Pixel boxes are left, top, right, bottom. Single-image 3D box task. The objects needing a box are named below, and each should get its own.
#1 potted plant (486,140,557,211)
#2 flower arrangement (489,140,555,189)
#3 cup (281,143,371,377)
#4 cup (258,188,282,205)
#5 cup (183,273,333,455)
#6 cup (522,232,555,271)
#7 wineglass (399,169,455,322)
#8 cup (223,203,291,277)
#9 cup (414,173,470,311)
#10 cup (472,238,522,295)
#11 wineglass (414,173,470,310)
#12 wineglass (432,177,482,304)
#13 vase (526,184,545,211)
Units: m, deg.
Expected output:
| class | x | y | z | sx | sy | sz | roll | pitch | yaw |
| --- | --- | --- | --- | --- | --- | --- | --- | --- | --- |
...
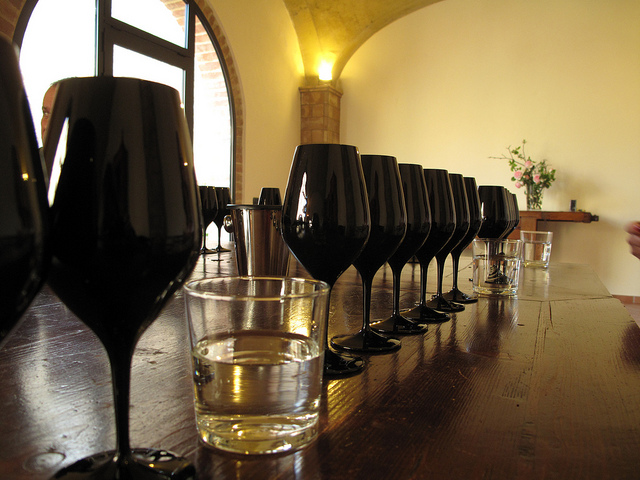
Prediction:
| class | x | y | z | sx | sy | sz | roll | pitch | yaw |
| --- | --- | --- | --- | --- | --- | --- | --- | --- | --- |
| potted plant | 2.229 | -0.681 | 4.964 | 0.393 | 0.612 | 0.455 | 4 | 17 | 18 |
| flower arrangement | 2.200 | -0.813 | 4.896 | 0.531 | 0.511 | 0.312 | 4 | 5 | 27 |
| cup | 0.010 | 0.018 | 0.574 | 0.103 | 0.262 | 0.108 | 0 | 5 | 0 |
| cup | -0.174 | -0.153 | 1.639 | 0.090 | 0.090 | 0.091 | 3 | -2 | 0 |
| cup | -0.046 | 0.100 | 0.437 | 0.122 | 0.143 | 0.124 | 0 | -2 | 0 |
| cup | 0.801 | 0.040 | 1.707 | 0.121 | 0.149 | 0.133 | 3 | 2 | 0 |
| wineglass | 0.188 | 0.006 | 0.836 | 0.107 | 0.260 | 0.104 | 0 | 2 | 4 |
| cup | -0.111 | 0.003 | 0.918 | 0.141 | 0.164 | 0.143 | -1 | 1 | 0 |
| cup | 0.243 | 0.004 | 0.936 | 0.117 | 0.283 | 0.114 | -6 | 17 | 2 |
| cup | 0.407 | 0.055 | 1.073 | 0.114 | 0.145 | 0.124 | 1 | 1 | 0 |
| wineglass | 0.228 | 0.006 | 0.931 | 0.124 | 0.294 | 0.115 | 2 | 21 | 17 |
| wineglass | 0.279 | 0.012 | 1.011 | 0.102 | 0.268 | 0.117 | 10 | 8 | 12 |
| vase | 2.263 | -0.441 | 4.866 | 0.170 | 0.270 | 0.403 | 4 | 5 | 26 |
